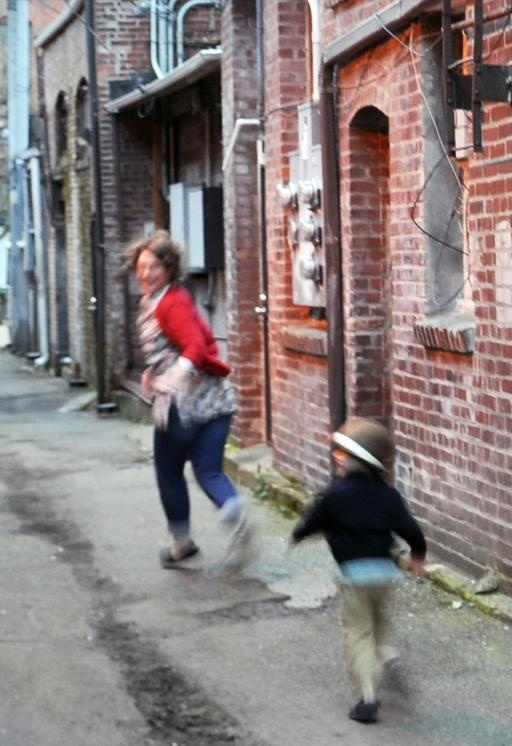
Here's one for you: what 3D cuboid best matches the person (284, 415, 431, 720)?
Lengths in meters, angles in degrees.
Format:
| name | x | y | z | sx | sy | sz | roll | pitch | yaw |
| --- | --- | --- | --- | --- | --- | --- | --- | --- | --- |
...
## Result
| name | x | y | z | sx | sy | sz | roll | pitch | yaw |
| --- | --- | --- | --- | --- | --- | --- | --- | --- | --- |
| person | 0.323 | 0.638 | 2.724 | 0.319 | 1.011 | 0.365 | -4 | 4 | -43 |

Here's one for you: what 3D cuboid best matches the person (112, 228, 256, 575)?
| name | x | y | z | sx | sy | sz | roll | pitch | yaw |
| --- | --- | --- | --- | --- | --- | --- | --- | --- | --- |
| person | -0.341 | 0.171 | 4.371 | 0.566 | 1.817 | 0.886 | -2 | 3 | -16 |

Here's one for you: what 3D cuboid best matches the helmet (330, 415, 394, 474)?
| name | x | y | z | sx | sy | sz | roll | pitch | yaw |
| --- | --- | --- | --- | --- | --- | --- | --- | --- | --- |
| helmet | 0.329 | 0.221 | 2.601 | 0.169 | 0.153 | 0.134 | 23 | -17 | 8 |
